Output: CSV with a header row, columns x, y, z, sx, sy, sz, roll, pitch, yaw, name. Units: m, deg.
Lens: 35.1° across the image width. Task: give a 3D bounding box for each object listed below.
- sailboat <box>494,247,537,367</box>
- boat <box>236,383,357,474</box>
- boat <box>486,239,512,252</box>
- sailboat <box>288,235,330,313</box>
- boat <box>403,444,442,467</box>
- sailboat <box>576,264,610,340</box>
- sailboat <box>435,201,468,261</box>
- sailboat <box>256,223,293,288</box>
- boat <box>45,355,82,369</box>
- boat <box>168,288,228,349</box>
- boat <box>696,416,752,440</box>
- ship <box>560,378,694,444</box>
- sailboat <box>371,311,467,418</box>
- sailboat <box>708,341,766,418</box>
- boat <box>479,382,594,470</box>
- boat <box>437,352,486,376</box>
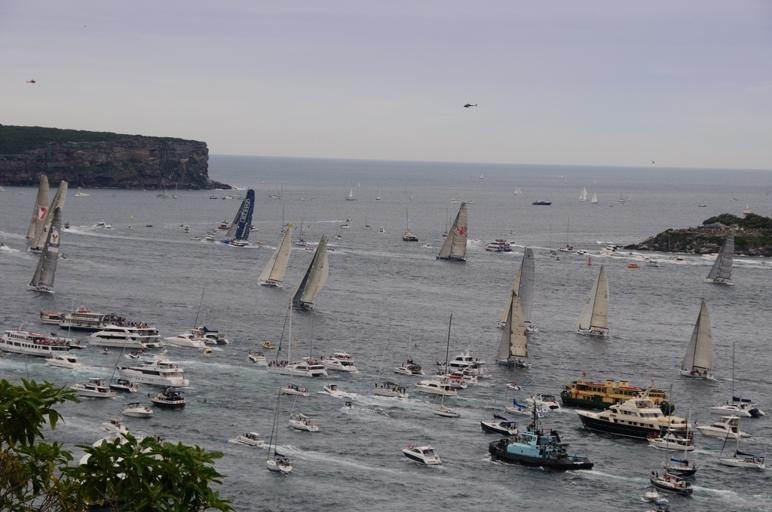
x,y,z,sx,sy,sz,roll,pitch,yaw,name
14.147,5.065,129.652,3.461,11.149,16.968,7,-1,6,sailboat
-7.748,14.876,103.764,10.392,10.186,2.380,10,18,27,boat
18.714,-1.685,200.760,2.526,1.237,3.372,2,5,17,boat
-8.660,2.512,143.816,4.537,9.230,3.373,10,-2,-24,sailboat
2.861,16.339,100.689,2.550,0.943,1.559,5,8,36,boat
23.296,5.076,135.041,2.984,6.907,1.899,7,-2,8,sailboat
10.616,-3.964,187.061,4.244,8.601,8.500,7,-1,2,sailboat
-14.444,0.817,157.512,4.711,9.096,3.641,4,0,-28,sailboat
-30.271,9.784,114.282,2.735,0.652,1.435,5,6,24,boat
-19.637,7.541,128.816,5.516,5.262,16.638,6,-2,-8,boat
29.838,15.219,107.849,3.793,1.301,2.020,3,2,26,boat
21.470,14.244,109.913,15.516,5.100,7.923,7,-4,-10,ship
3.922,10.516,122.530,8.317,8.467,28.456,6,-1,4,sailboat
34.596,12.347,120.238,3.142,5.797,3.451,-8,5,44,sailboat
12.635,16.106,102.246,7.924,4.306,2.014,6,-2,4,boat
8.176,10.855,120.007,5.711,2.207,1.852,2,6,-23,boat
